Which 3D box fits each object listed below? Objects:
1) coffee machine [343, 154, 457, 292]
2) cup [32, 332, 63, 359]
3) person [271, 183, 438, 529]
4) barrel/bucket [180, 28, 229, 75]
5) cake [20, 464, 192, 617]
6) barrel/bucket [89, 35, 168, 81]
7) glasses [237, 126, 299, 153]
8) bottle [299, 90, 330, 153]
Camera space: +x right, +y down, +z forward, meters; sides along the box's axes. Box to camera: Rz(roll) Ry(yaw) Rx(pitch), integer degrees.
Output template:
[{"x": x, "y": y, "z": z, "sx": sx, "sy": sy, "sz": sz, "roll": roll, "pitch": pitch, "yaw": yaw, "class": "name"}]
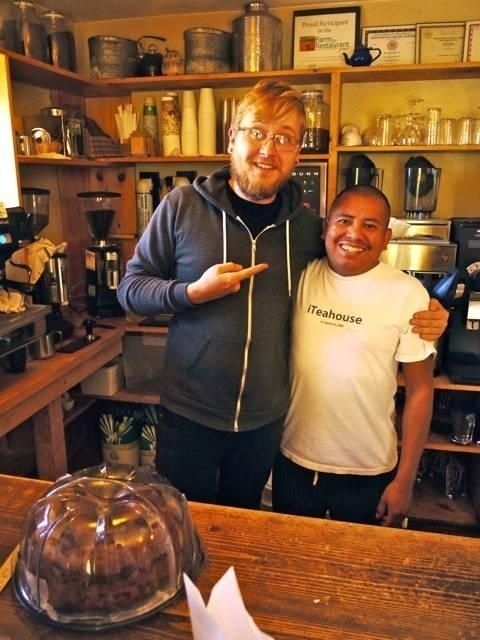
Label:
[{"x": 0.703, "y": -0.374, "z": 2.323, "sx": 0.485, "sy": 0.688, "sz": 0.416, "roll": 2, "pitch": 22, "yaw": 4, "class": "coffee machine"}, {"x": -0.720, "y": 0.081, "z": 1.898, "sx": 0.065, "sy": 0.100, "sz": 0.105, "roll": 21, "pitch": 29, "yaw": 34, "class": "cup"}, {"x": 0.296, "y": 0.217, "z": 1.383, "sx": 0.420, "sy": 0.762, "sz": 0.214, "roll": 5, "pitch": 11, "yaw": 19, "class": "person"}, {"x": -0.141, "y": -1.329, "z": 2.530, "sx": 0.262, "sy": 0.191, "sz": 0.257, "roll": 1, "pitch": 23, "yaw": 0, "class": "barrel/bucket"}, {"x": -0.190, "y": 0.301, "z": 0.693, "sx": 0.228, "sy": 0.106, "sz": 0.216, "roll": 4, "pitch": -4, "yaw": -13, "class": "cake"}, {"x": -0.530, "y": -1.317, "z": 2.615, "sx": 0.393, "sy": 0.195, "sz": 0.224, "roll": -19, "pitch": 30, "yaw": -41, "class": "barrel/bucket"}, {"x": 0.074, "y": -0.464, "z": 1.307, "sx": 0.150, "sy": 0.059, "sz": 0.048, "roll": 1, "pitch": 10, "yaw": -4, "class": "glasses"}, {"x": 0.382, "y": -0.990, "z": 2.544, "sx": 0.176, "sy": 0.283, "sz": 0.165, "roll": -5, "pitch": 27, "yaw": 3, "class": "bottle"}]
